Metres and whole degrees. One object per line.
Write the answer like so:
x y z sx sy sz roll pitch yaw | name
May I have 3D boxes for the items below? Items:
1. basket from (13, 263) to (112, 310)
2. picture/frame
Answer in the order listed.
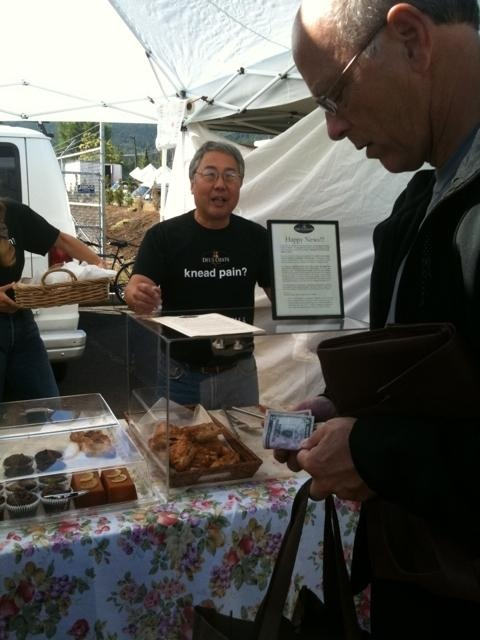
-0.797 -0.144 2.114 0.364 0.157 0.235 -10 16 -20 | basket
0.218 -0.171 1.573 0.336 0.437 0.018 -1 -2 -12 | picture/frame
